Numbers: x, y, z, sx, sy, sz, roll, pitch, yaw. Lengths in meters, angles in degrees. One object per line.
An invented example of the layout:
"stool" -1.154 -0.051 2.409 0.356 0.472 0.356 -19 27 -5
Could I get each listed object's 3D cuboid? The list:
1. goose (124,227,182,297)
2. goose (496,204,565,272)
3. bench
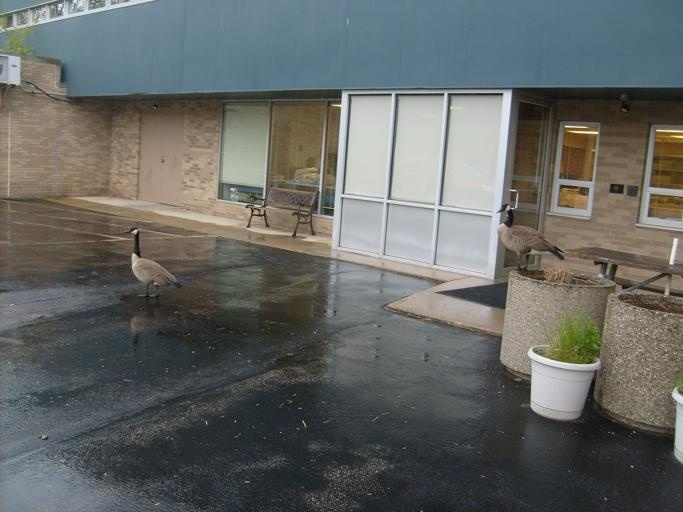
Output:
"goose" -3.201 0.099 8.409 0.637 1.078 1.254 0 11 -23
"goose" 2.865 -0.272 7.659 0.879 0.958 1.186 6 10 9
"bench" -1.947 -1.573 16.456 2.770 1.406 0.845 12 13 40
